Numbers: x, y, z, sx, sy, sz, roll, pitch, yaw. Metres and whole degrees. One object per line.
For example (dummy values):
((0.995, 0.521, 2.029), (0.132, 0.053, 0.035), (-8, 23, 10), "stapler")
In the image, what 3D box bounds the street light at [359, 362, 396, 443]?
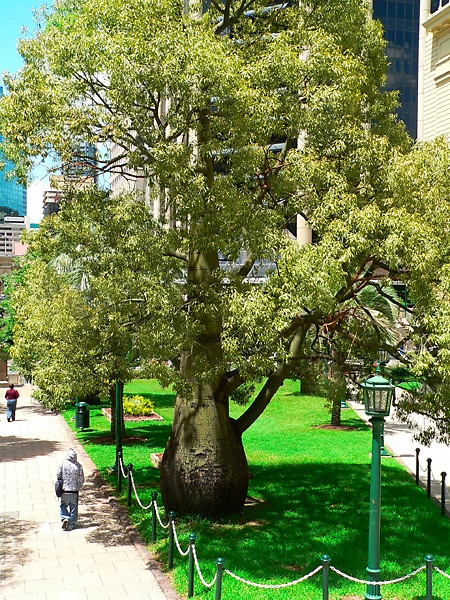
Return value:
((1.991, 1.399, 10.300), (0.393, 1.066, 1.161), (-1, -2, 10), "street light")

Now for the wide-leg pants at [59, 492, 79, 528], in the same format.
((-2.846, 3.894, 14.258), (0.294, 0.675, 0.214), (0, -3, -22), "wide-leg pants")
